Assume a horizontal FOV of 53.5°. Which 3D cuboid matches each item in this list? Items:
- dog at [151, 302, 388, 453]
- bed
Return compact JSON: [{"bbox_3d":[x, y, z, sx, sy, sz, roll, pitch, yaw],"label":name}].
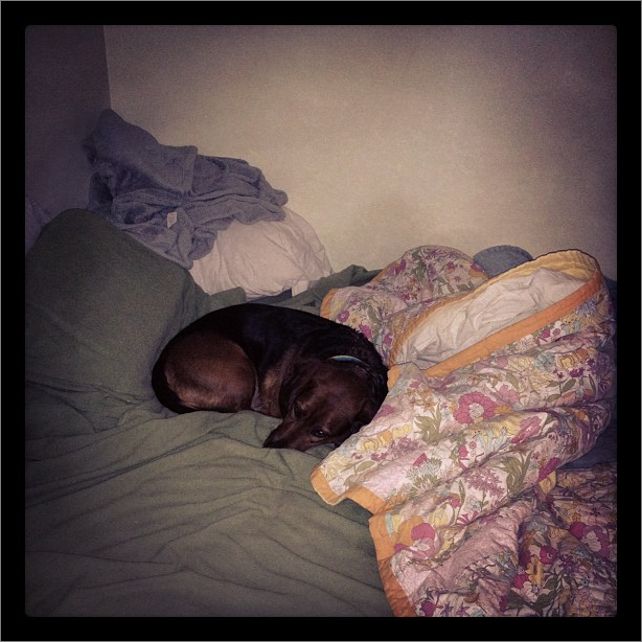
[{"bbox_3d":[-0.130,0.155,1.945,0.527,0.184,0.453,32,36,32],"label":"dog"},{"bbox_3d":[-0.380,0.222,1.737,0.841,0.949,1.087,5,9,-24],"label":"bed"}]
